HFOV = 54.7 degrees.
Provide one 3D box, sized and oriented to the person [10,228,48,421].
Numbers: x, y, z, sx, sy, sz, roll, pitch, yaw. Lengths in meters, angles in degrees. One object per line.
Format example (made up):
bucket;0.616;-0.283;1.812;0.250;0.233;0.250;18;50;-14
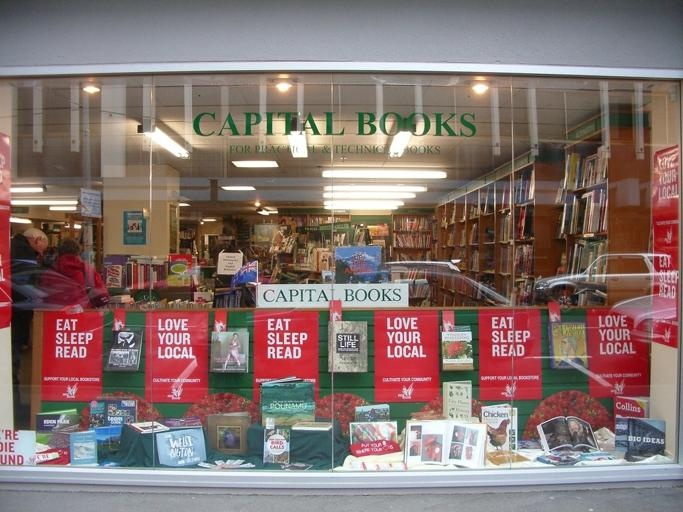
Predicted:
person;-2.749;0.605;5.820;0.292;1.730;0.208;0;-4;-25

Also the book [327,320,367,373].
book;0.085;0.791;5.848;0.383;0.439;0.262;-1;-9;6

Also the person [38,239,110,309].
person;-2.460;0.173;6.007;0.555;0.898;0.329;-3;-4;-5
